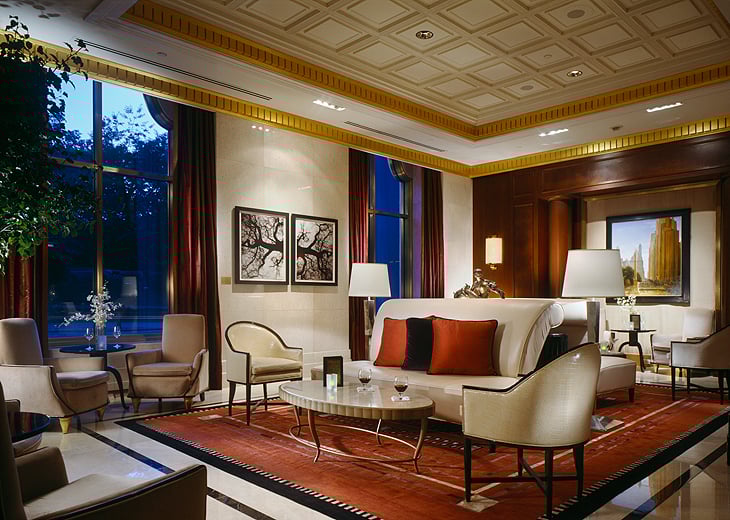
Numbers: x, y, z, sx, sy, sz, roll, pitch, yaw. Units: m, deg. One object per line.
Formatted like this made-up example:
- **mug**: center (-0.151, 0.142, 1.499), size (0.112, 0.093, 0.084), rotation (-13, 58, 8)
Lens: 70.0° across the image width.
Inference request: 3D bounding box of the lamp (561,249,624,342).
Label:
- **lamp**: center (2.317, 0.173, 5.257), size (0.529, 0.719, 0.488), rotation (-3, -4, 27)

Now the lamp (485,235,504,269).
- **lamp**: center (2.483, -0.152, 10.136), size (0.388, 0.644, 0.243), rotation (0, 0, 30)

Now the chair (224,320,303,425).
- **chair**: center (-0.991, 1.240, 6.085), size (1.022, 1.400, 0.896), rotation (3, -6, -44)

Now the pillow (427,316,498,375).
- **pillow**: center (0.941, 0.840, 4.991), size (0.487, 0.417, 0.234), rotation (1, -39, 17)

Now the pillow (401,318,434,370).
- **pillow**: center (0.539, 0.841, 5.214), size (0.400, 0.411, 0.134), rotation (1, -13, 13)

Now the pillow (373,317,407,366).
- **pillow**: center (0.281, 0.875, 5.528), size (0.432, 0.446, 0.187), rotation (-3, -17, 45)

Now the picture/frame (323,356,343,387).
- **picture/frame**: center (-0.286, 0.996, 4.642), size (0.255, 0.336, 0.045), rotation (5, -8, -34)

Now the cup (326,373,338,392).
- **cup**: center (-0.293, 1.077, 4.596), size (0.113, 0.162, 0.110), rotation (0, -1, 0)

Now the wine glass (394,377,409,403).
- **wine glass**: center (0.284, 1.045, 4.257), size (0.162, 0.219, 0.159), rotation (-1, -1, 1)

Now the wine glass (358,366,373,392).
- **wine glass**: center (0.012, 1.030, 4.501), size (0.179, 0.251, 0.181), rotation (-1, -1, 2)
